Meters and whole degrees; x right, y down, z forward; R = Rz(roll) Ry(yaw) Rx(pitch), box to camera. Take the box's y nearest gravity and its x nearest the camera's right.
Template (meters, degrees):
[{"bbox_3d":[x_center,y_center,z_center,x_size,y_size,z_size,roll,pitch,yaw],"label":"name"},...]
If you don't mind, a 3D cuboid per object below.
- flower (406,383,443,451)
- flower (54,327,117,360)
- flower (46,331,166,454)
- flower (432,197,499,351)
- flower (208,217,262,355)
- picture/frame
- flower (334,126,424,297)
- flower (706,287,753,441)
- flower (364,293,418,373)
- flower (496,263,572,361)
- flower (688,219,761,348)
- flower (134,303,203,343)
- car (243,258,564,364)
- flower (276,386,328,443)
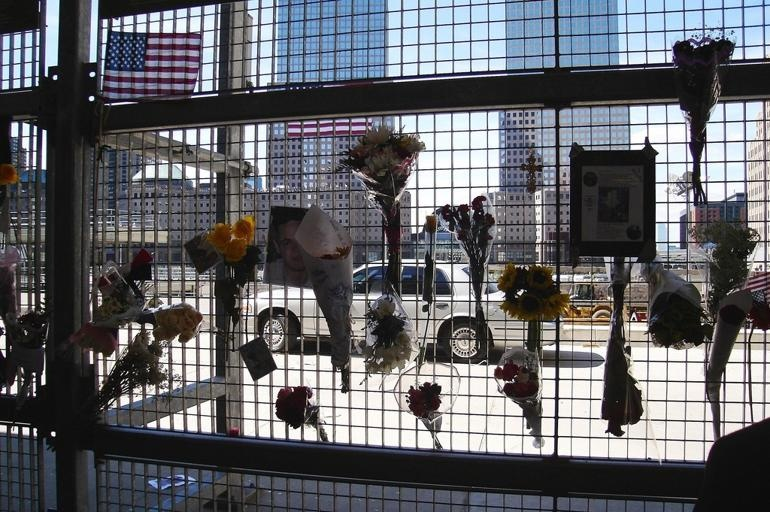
[{"bbox_3d":[0.212,0.805,5.487,0.219,0.323,0.140,-7,13,-4],"label":"flower"},{"bbox_3d":[-1.515,0.424,5.493,0.182,0.115,0.196,4,1,16],"label":"flower"},{"bbox_3d":[-1.382,0.642,5.585,0.463,0.527,0.151,4,6,17],"label":"flower"},{"bbox_3d":[0.417,0.100,5.562,0.309,0.857,0.144,2,5,0],"label":"flower"},{"bbox_3d":[-0.802,0.109,5.587,0.275,0.661,0.241,3,5,7],"label":"flower"},{"bbox_3d":[1.168,-0.264,5.349,0.572,0.867,0.107,1,0,-2],"label":"picture/frame"},{"bbox_3d":[-0.023,-0.244,5.489,0.434,0.852,0.125,2,5,-4],"label":"flower"},{"bbox_3d":[1.746,0.540,5.346,0.207,0.778,0.187,4,6,22],"label":"flower"},{"bbox_3d":[0.030,0.402,5.538,0.286,0.418,0.182,2,6,1],"label":"flower"},{"bbox_3d":[0.761,0.186,5.361,0.357,0.291,0.112,3,5,4],"label":"flower"},{"bbox_3d":[1.762,0.077,5.386,0.402,0.742,0.421,6,-2,2],"label":"flower"},{"bbox_3d":[-1.124,0.348,5.475,0.250,0.219,0.114,-7,-10,-12],"label":"flower"},{"bbox_3d":[-0.058,0.334,6.853,2.258,0.778,0.934,2,0,10],"label":"car"},{"bbox_3d":[-0.446,0.823,5.606,0.285,0.290,0.204,1,6,-15],"label":"flower"}]
